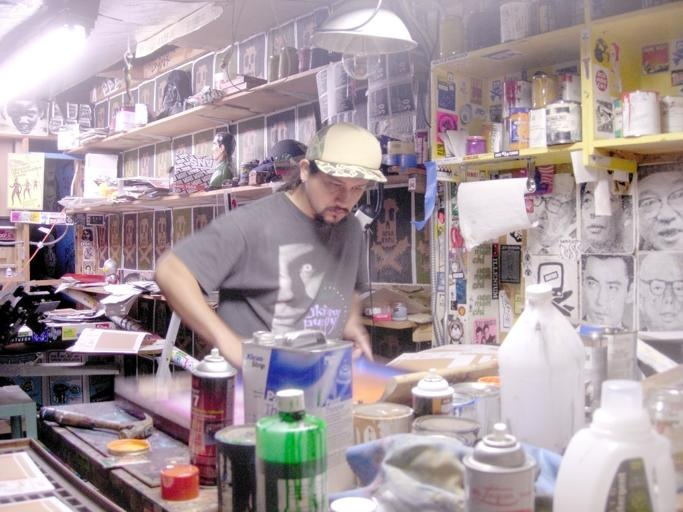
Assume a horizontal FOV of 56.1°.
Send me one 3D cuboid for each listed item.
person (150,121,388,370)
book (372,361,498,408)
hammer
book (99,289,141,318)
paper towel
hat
[{"bbox_3d":[-0.249,0.012,2.391,0.858,0.827,0.462,-3,0,-18],"label":"person"},{"bbox_3d":[0.307,0.361,1.894,0.498,0.111,0.062,-3,1,-44],"label":"book"},{"bbox_3d":[-0.771,0.523,2.052,0.412,0.078,0.150,-2,1,26],"label":"hammer"},{"bbox_3d":[-1.427,0.297,4.215,0.162,0.086,0.228,1,25,10],"label":"book"},{"bbox_3d":[0.717,-0.201,2.917,0.320,0.312,0.204,-6,-14,35],"label":"paper towel"},{"bbox_3d":[0.027,-0.397,2.367,0.257,0.198,0.368,4,11,-23],"label":"hat"}]
